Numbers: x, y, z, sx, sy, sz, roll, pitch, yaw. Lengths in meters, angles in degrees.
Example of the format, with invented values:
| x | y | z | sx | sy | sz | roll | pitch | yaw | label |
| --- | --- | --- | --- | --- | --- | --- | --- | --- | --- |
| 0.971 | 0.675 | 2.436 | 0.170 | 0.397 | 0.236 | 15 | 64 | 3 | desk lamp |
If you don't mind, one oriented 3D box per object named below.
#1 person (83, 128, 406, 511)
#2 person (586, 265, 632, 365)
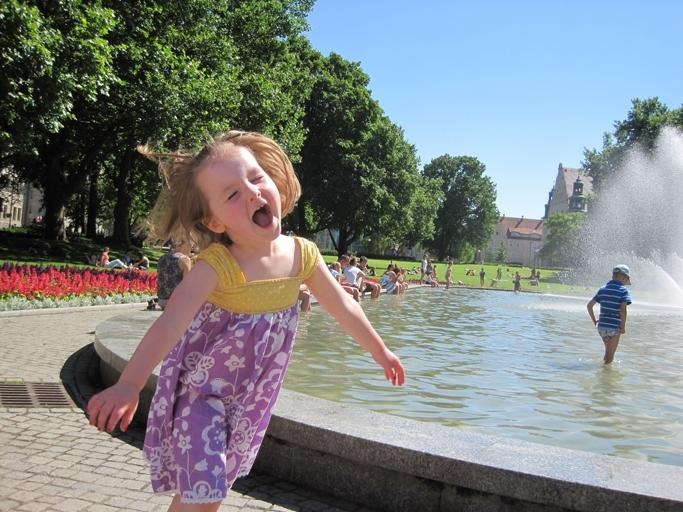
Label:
| x | y | z | sx | sy | sz | roll | pitch | yaw | label |
| --- | --- | --- | --- | --- | --- | --- | --- | --- | --- |
| -0.529 | 0.259 | 2.526 | 1.189 | 1.751 | 0.518 | 2 | 2 | -29 | person |
| 4.944 | 1.034 | 9.956 | 0.661 | 1.772 | 1.581 | 4 | 1 | 29 | person |
